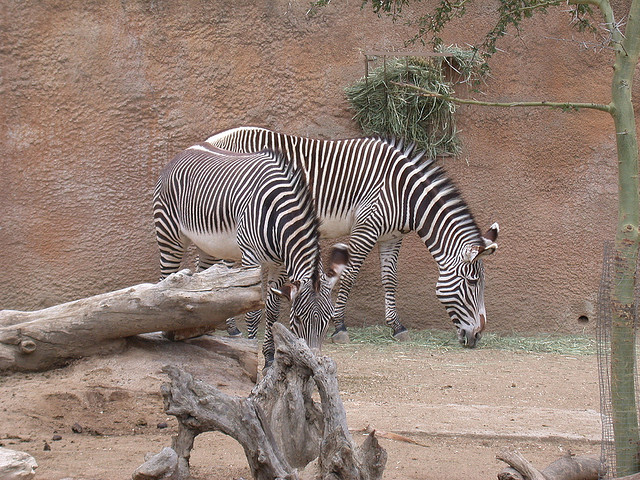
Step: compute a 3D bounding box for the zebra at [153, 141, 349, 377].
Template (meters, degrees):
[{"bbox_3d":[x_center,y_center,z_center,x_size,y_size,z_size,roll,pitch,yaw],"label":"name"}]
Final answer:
[{"bbox_3d":[-0.758,0.122,11.155,1.010,2.327,3.543,-4,18,-29],"label":"zebra"}]
